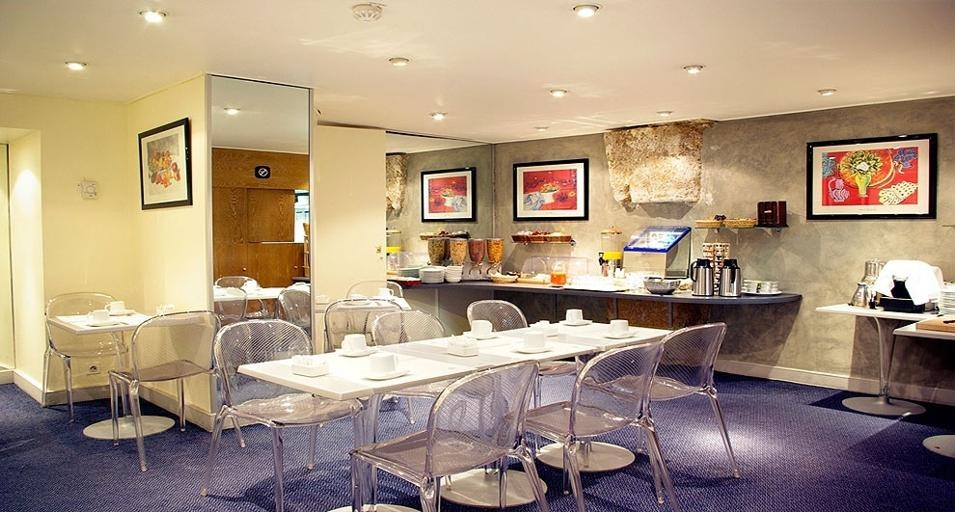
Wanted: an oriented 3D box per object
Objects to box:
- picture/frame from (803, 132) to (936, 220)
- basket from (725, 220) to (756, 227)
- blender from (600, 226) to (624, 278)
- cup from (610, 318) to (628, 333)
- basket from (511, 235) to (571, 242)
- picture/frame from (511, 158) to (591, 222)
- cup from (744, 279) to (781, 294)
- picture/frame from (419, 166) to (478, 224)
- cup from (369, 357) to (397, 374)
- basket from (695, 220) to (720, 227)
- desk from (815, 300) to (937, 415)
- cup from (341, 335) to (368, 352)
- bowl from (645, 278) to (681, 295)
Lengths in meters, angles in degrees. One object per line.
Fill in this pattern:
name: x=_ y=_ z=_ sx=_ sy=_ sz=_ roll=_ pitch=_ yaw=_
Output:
picture/frame: x=4.845 y=-0.993 z=7.106 sx=1.358 sy=0.849 sz=0.065 roll=0 pitch=-3 yaw=27
basket: x=3.444 y=-0.439 z=7.651 sx=0.363 sy=0.112 sz=0.296 roll=0 pitch=3 yaw=23
blender: x=1.944 y=-0.071 z=8.442 sx=0.350 sy=0.681 sz=0.499 roll=0 pitch=4 yaw=12
cup: x=1.323 y=0.642 z=5.460 sx=0.153 sy=0.092 sz=0.145 roll=-2 pitch=0 yaw=0
basket: x=0.999 y=-0.289 z=9.048 sx=0.924 sy=0.110 sz=0.192 roll=0 pitch=3 yaw=28
picture/frame: x=1.190 y=-1.043 z=9.004 sx=1.194 sy=0.714 sz=0.046 roll=2 pitch=5 yaw=31
cup: x=3.668 y=0.382 z=7.571 sx=0.405 sy=0.160 sz=0.391 roll=-1 pitch=3 yaw=0
picture/frame: x=-0.427 y=-1.042 z=9.476 sx=1.123 sy=0.863 sz=0.073 roll=2 pitch=1 yaw=6
cup: x=-0.710 y=0.817 z=4.419 sx=0.153 sy=0.073 sz=0.139 roll=0 pitch=2 yaw=0
basket: x=3.087 y=-0.445 z=7.839 sx=0.284 sy=0.104 sz=0.367 roll=0 pitch=3 yaw=11
desk: x=4.676 y=1.176 z=6.832 sx=1.432 sy=1.148 sz=1.296 roll=1 pitch=2 yaw=1
cup: x=-1.032 y=0.720 z=4.926 sx=0.196 sy=0.114 sz=0.138 roll=-2 pitch=5 yaw=-22
bowl: x=2.423 y=0.376 z=7.623 sx=0.291 sy=0.102 sz=0.280 roll=0 pitch=0 yaw=0
